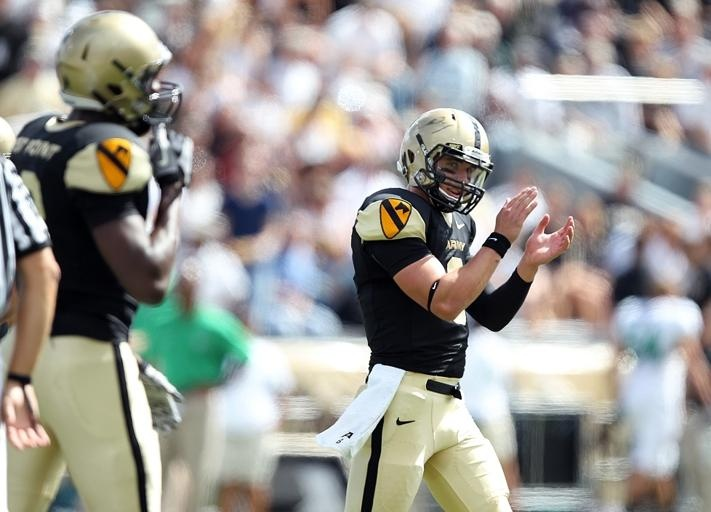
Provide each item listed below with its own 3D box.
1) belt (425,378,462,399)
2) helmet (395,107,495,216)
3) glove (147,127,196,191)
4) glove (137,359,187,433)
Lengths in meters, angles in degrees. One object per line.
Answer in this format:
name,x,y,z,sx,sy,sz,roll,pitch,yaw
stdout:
belt,0.401,0.595,4.302,0.119,0.092,0.047,13,94,-7
helmet,0.414,-0.437,4.463,0.431,0.331,0.407,14,51,5
glove,-0.820,-0.430,4.171,0.203,0.105,0.258,-14,83,-40
glove,-0.843,0.610,4.184,0.154,0.467,0.179,-12,53,-14
